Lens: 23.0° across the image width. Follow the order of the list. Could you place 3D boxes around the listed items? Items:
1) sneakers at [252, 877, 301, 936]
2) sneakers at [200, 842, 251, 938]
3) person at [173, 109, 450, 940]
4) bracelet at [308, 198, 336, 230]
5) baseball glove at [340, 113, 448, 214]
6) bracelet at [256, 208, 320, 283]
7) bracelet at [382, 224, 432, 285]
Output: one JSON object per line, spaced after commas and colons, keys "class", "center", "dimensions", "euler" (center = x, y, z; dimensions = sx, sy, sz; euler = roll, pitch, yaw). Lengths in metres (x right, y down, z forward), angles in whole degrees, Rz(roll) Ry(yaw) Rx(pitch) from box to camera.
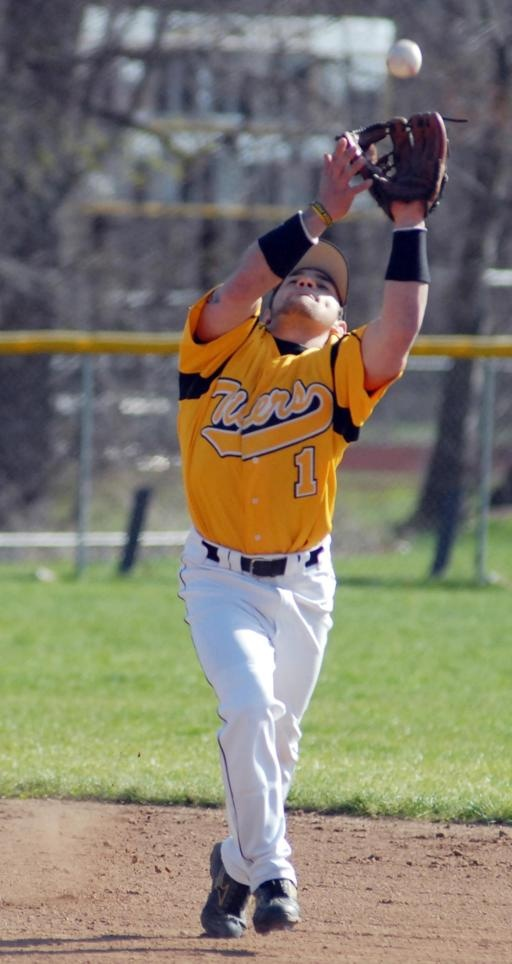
{"class": "sneakers", "center": [0.044, 0.920, 2.711], "dimensions": [0.094, 0.132, 0.116], "euler": [1, 6, -2]}
{"class": "sneakers", "center": [-0.071, 0.988, 2.999], "dimensions": [0.113, 0.244, 0.174], "euler": [1, 7, 2]}
{"class": "person", "center": [0.049, 0.110, 3.019], "dimensions": [0.619, 1.966, 0.737], "euler": [6, 8, 36]}
{"class": "bracelet", "center": [0.156, -0.626, 2.935], "dimensions": [0.016, 0.059, 0.061], "euler": [-37, 13, 2]}
{"class": "baseball glove", "center": [0.345, -0.750, 2.978], "dimensions": [0.201, 0.232, 0.207], "euler": [1, 6, 3]}
{"class": "bracelet", "center": [0.069, -0.553, 2.923], "dimensions": [0.125, 0.151, 0.048], "euler": [1, 7, 0]}
{"class": "bracelet", "center": [0.354, -0.530, 2.929], "dimensions": [0.096, 0.134, 0.154], "euler": [2, 6, 5]}
